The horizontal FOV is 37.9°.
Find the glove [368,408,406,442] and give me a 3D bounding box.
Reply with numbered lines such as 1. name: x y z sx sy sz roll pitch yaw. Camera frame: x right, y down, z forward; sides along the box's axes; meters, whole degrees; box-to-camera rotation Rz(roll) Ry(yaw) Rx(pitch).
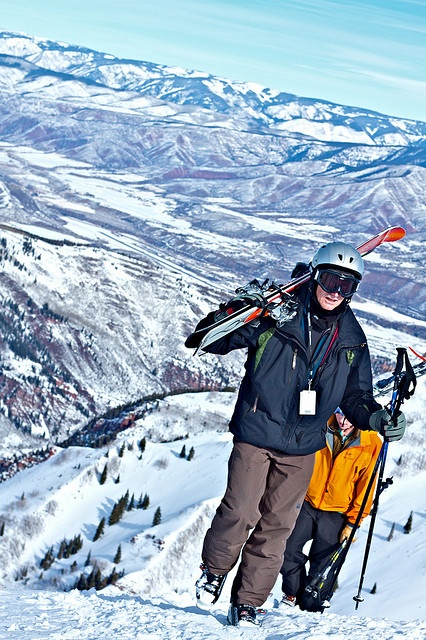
1. glove: 2.602 1.549 9.287 0.442 0.288 0.520 12 46 -15

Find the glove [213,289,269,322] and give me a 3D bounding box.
1. glove: 0.352 -0.204 8.899 0.745 0.317 0.322 -10 5 1
